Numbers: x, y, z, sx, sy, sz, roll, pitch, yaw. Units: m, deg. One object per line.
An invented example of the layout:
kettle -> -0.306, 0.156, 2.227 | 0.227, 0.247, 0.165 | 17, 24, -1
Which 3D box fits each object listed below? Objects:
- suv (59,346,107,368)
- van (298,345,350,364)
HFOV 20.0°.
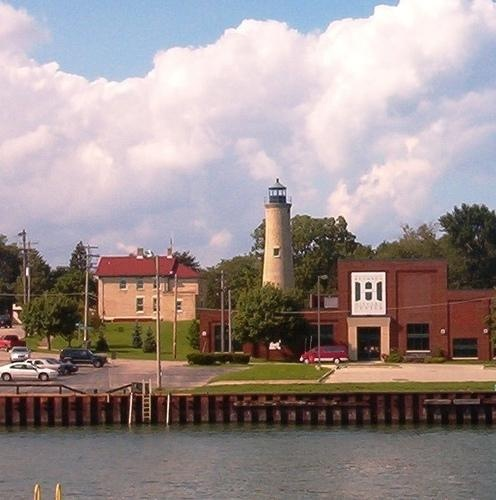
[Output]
suv -> -14.535, 9.613, 124.872 | 3.312, 1.636, 1.831 | 0, 1, 0
van -> 7.299, 10.217, 134.912 | 4.276, 1.813, 1.935 | 2, -3, 3
